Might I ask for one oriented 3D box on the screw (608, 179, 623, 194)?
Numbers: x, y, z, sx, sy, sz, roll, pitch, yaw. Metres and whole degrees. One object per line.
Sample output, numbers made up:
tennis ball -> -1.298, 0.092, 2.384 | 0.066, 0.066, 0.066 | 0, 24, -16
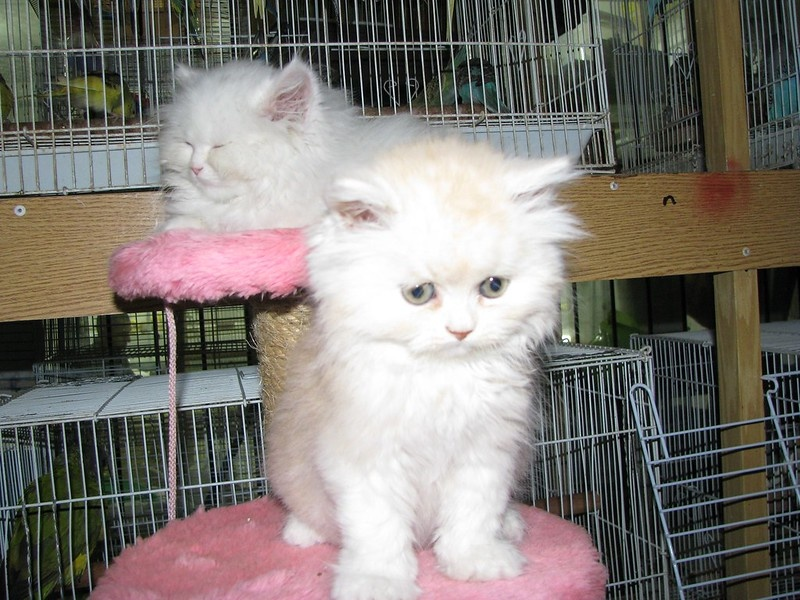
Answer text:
screw -> 0.612, -0.328, 2.307 | 0.031, 0.031, 0.009 | -6, 13, -21

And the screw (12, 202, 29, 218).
screw -> -1.011, -0.242, 2.139 | 0.037, 0.041, 0.009 | 3, -1, -15

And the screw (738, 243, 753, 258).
screw -> 1.025, -0.146, 2.391 | 0.031, 0.031, 0.002 | -4, 12, -10
